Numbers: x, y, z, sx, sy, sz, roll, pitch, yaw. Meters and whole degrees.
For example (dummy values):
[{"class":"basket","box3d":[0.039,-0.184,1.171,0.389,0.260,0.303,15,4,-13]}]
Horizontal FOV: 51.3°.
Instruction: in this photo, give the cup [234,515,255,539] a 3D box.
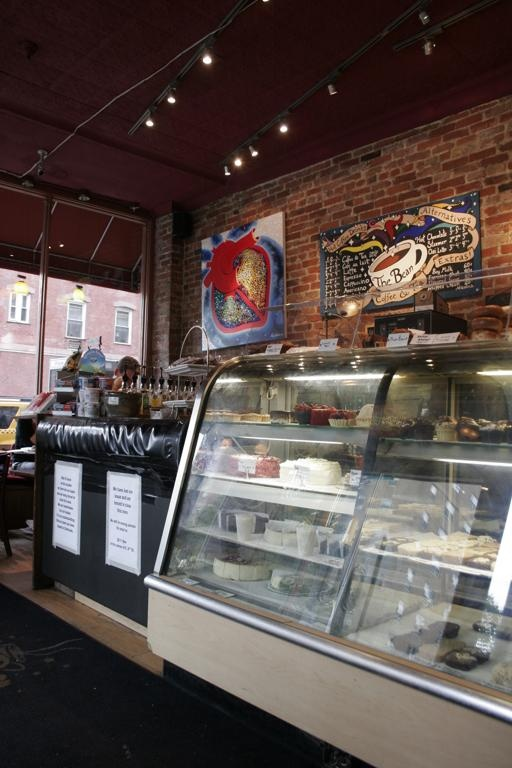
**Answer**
[{"class":"cup","box3d":[-0.030,0.452,1.693,0.074,0.072,0.062,3,-8,-10]}]

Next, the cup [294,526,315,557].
[{"class":"cup","box3d":[0.135,0.438,1.499,0.073,0.083,0.072,0,-6,0]}]

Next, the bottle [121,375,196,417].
[{"class":"bottle","box3d":[-0.536,0.063,3.052,0.310,0.077,0.285,-4,20,1]}]

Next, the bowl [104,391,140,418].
[{"class":"bowl","box3d":[-0.673,0.109,2.745,0.182,0.141,0.286,0,-5,-19]}]
